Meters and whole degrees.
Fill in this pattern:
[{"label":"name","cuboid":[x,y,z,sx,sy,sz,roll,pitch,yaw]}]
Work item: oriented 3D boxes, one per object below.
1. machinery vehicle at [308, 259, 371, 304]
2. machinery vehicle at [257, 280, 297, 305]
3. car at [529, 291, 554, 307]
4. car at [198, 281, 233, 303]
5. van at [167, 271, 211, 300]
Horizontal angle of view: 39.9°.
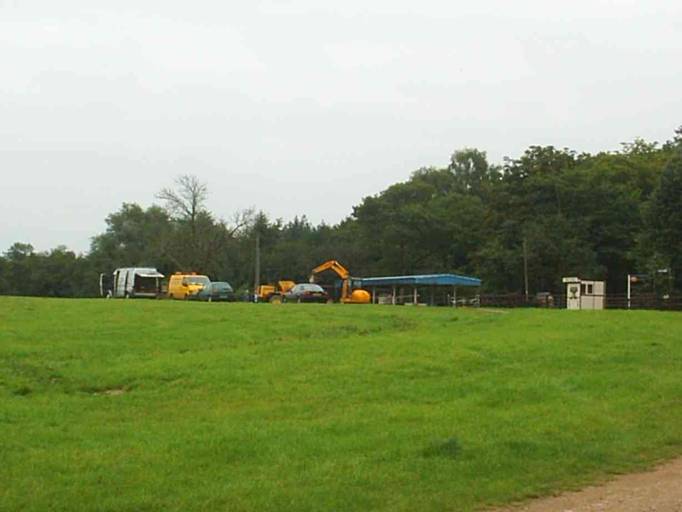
[{"label":"machinery vehicle","cuboid":[-0.177,1.663,61.450,4.530,2.890,1.310,3,13,41]},{"label":"machinery vehicle","cuboid":[-4.422,2.385,64.928,1.458,1.594,2.636,1,-3,-40]},{"label":"car","cuboid":[15.175,3.236,70.624,1.466,1.269,4.868,1,-5,10]},{"label":"car","cuboid":[-7.791,2.153,57.779,1.509,1.199,2.369,7,-7,-44]},{"label":"van","cuboid":[-9.761,1.938,61.799,1.774,1.476,2.795,2,-6,-34]}]
